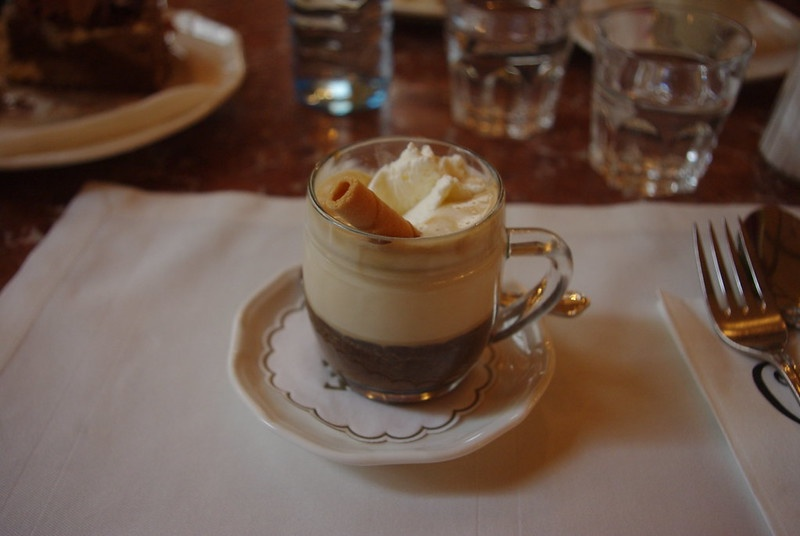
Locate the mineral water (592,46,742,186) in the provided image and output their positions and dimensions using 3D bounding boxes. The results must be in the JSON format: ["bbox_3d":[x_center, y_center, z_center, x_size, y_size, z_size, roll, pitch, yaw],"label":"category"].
[{"bbox_3d":[0.471,-0.278,1.236,0.244,0.273,0.271,9,28,15],"label":"mineral water"}]

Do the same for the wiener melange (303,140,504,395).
[{"bbox_3d":[0.008,0.009,0.932,0.285,0.279,0.289,-1,42,-4],"label":"wiener melange"}]

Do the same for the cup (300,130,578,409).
[{"bbox_3d":[0.033,-0.010,0.898,0.376,0.268,0.257,-2,40,-2],"label":"cup"}]
